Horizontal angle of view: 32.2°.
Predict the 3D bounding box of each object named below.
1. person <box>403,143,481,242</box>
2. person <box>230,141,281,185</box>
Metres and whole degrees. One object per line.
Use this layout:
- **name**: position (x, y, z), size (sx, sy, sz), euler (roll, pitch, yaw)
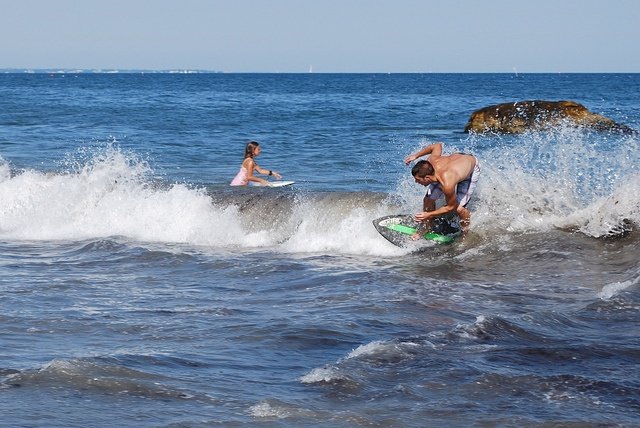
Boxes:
- **person**: position (2.274, -0.332, 20.353), size (1.397, 0.973, 1.741), euler (-31, -24, 13)
- **person**: position (-1.463, -1.117, 23.840), size (0.864, 0.945, 0.934), euler (1, 11, -4)
